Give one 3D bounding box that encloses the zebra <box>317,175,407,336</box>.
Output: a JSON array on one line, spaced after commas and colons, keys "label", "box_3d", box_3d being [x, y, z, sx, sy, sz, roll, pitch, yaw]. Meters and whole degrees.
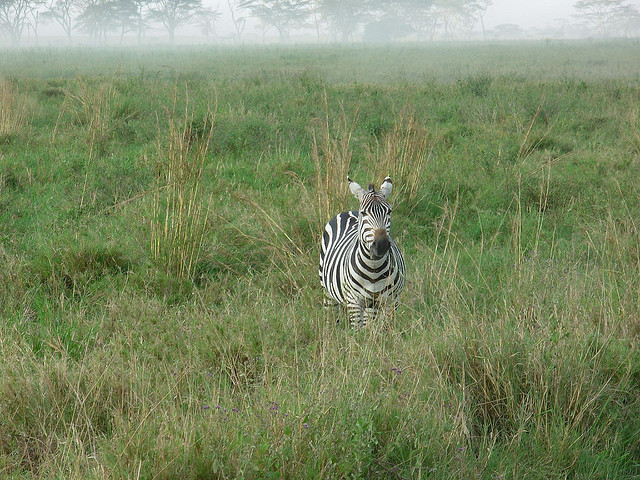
[{"label": "zebra", "box_3d": [0.451, 0.158, 7.014, 0.733, 1.435, 1.650, -4, 17, -11]}]
